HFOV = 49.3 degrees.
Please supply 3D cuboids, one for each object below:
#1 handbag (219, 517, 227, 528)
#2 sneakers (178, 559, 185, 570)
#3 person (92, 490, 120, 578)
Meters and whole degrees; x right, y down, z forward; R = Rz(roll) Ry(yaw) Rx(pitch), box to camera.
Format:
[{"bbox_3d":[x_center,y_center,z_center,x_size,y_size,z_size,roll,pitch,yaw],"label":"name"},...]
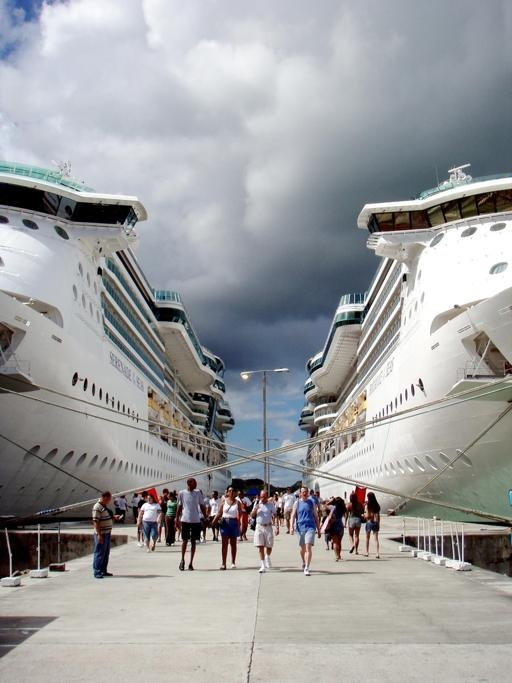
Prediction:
[{"bbox_3d":[-0.586,3.212,9.900,0.068,0.181,0.228,6,-18,-18],"label":"handbag"},{"bbox_3d":[-1.283,3.820,9.603,0.088,0.088,0.234,4,-7,-2],"label":"sneakers"},{"bbox_3d":[-2.439,3.032,8.906,0.352,1.259,1.252,5,-17,-14],"label":"person"}]
